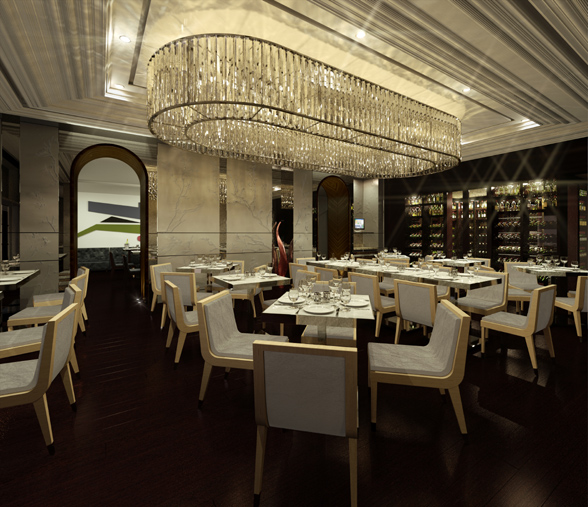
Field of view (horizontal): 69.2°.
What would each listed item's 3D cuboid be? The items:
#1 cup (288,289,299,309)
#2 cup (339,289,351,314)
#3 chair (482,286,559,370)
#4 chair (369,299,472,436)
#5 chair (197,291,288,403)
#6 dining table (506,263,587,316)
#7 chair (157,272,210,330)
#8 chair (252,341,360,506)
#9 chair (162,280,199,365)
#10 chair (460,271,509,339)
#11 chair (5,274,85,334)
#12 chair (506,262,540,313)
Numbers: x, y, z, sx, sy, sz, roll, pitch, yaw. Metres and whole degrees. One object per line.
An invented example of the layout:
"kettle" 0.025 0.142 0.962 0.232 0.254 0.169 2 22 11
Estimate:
"cup" -0.006 0.415 3.972 0.088 0.178 0.102 0 -7 0
"cup" 0.460 0.416 3.812 0.115 0.257 0.142 1 -8 -1
"chair" 2.497 0.731 4.705 0.539 0.893 0.600 -5 8 -40
"chair" 1.055 0.963 3.780 0.705 1.113 1.006 3 0 13
"chair" -0.461 0.849 3.893 0.634 0.945 0.844 -2 3 1
"dining table" 3.636 0.516 6.180 0.617 1.166 0.740 0 -2 -6
"chair" -1.413 0.493 5.628 0.649 1.179 0.725 0 0 -12
"chair" 0.102 1.026 3.168 0.750 1.509 0.913 0 3 12
"chair" -1.166 0.747 4.758 0.468 0.813 0.459 -2 9 -34
"chair" 2.522 0.671 5.421 0.362 0.607 0.387 -15 -8 -7
"chair" -3.022 0.605 5.078 0.456 0.758 0.702 1 2 -10
"chair" 3.314 0.584 6.297 0.393 0.600 0.383 -2 3 38
